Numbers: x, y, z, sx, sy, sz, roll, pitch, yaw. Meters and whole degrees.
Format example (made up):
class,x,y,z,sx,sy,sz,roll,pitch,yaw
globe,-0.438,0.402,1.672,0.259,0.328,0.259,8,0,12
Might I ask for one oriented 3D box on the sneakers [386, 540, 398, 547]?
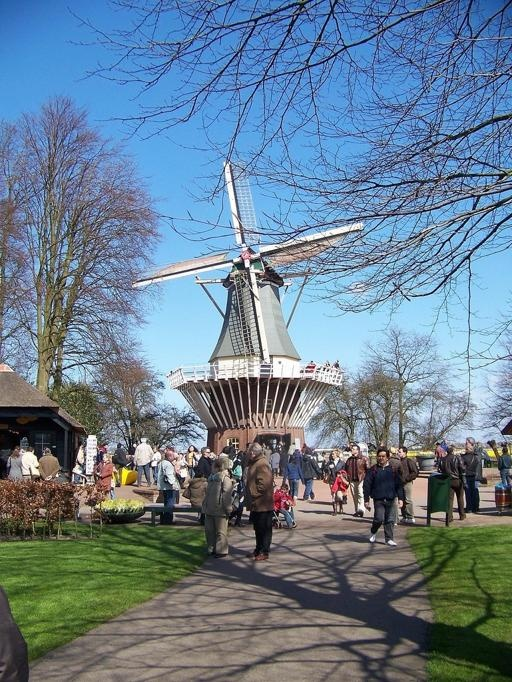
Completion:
class,x,y,z,sx,sy,sz,roll,pitch,yaw
sneakers,2.319,3.482,10.068,0.164,0.118,0.304,0,-5,8

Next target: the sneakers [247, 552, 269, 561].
class,x,y,z,sx,sy,sz,roll,pitch,yaw
sneakers,0.015,3.373,9.180,0.355,0.129,0.113,-7,-9,27

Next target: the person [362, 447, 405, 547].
class,x,y,z,sx,sy,sz,roll,pitch,yaw
person,2.288,2.780,10.599,0.669,1.665,1.027,-3,-13,10

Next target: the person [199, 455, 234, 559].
class,x,y,z,sx,sy,sz,roll,pitch,yaw
person,-0.598,2.740,9.729,0.454,1.582,0.568,4,-14,-20

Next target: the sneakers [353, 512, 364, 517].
class,x,y,z,sx,sy,sz,roll,pitch,yaw
sneakers,2.536,4.242,14.339,0.154,0.069,0.200,-3,-7,30
